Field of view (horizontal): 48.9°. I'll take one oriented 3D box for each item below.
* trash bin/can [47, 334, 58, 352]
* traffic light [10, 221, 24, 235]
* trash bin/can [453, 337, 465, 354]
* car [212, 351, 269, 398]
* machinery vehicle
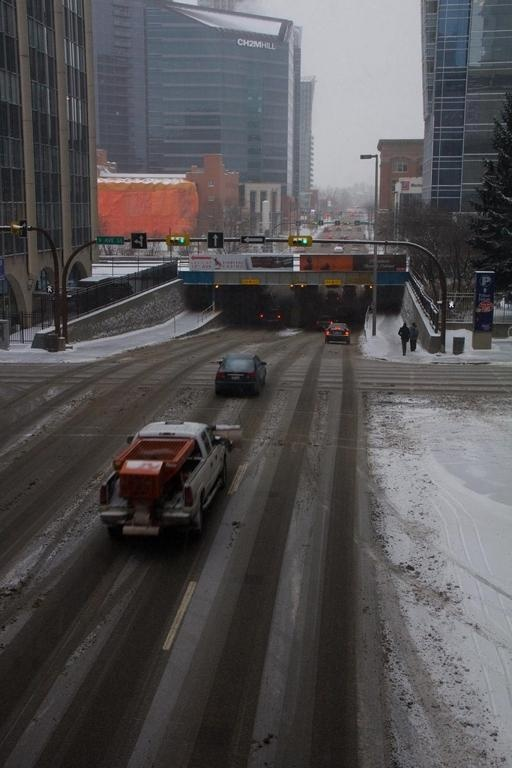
[{"bbox_3d":[-11.572,-2.333,32.029,0.565,0.933,0.811,-4,9,-23],"label":"trash bin/can"},{"bbox_3d":[-10.963,-7.145,25.861,0.555,0.411,0.960,-1,15,-7],"label":"traffic light"},{"bbox_3d":[11.355,-2.136,31.588,0.543,0.930,0.575,0,7,6],"label":"trash bin/can"},{"bbox_3d":[-0.664,-0.330,21.784,1.598,1.403,1.730,1,9,15],"label":"car"},{"bbox_3d":[-1.493,1.646,10.529,1.162,1.218,2.935,2,18,8],"label":"machinery vehicle"}]
